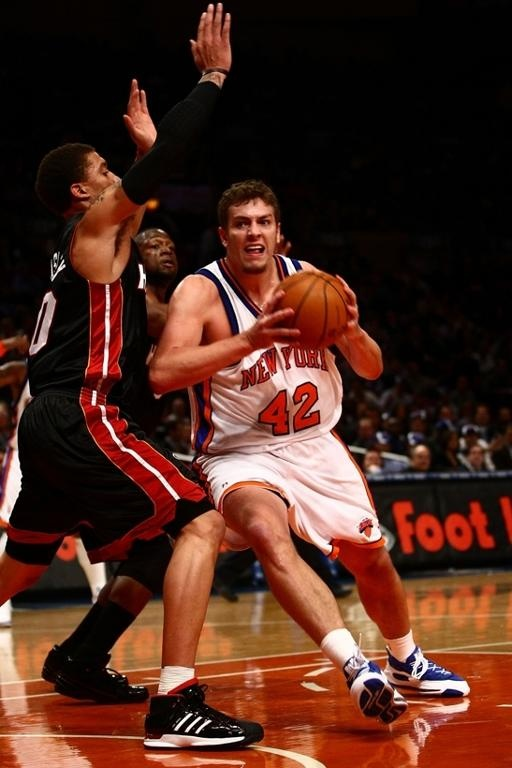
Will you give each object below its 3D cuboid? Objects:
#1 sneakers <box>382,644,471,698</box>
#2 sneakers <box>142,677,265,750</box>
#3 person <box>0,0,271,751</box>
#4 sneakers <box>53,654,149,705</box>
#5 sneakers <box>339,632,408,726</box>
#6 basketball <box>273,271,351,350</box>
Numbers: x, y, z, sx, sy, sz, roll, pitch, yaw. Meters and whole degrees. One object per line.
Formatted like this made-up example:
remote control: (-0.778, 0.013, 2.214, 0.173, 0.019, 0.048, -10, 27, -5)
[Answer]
sneakers: (0.650, 1.148, 2.828, 0.380, 0.147, 0.136, 4, -7, 25)
sneakers: (-0.171, 0.976, 2.092, 0.410, 0.209, 0.148, -1, -11, 4)
person: (-0.434, -0.001, 2.200, 0.922, 1.982, 1.008, 1, 14, -2)
sneakers: (-0.646, 1.257, 3.023, 0.493, 0.203, 0.156, 14, 10, -16)
sneakers: (0.365, 0.842, 1.979, 0.105, 0.285, 0.133, -37, 46, -2)
basketball: (0.211, -0.264, 2.445, 0.244, 0.256, 0.224, 2, 31, -7)
